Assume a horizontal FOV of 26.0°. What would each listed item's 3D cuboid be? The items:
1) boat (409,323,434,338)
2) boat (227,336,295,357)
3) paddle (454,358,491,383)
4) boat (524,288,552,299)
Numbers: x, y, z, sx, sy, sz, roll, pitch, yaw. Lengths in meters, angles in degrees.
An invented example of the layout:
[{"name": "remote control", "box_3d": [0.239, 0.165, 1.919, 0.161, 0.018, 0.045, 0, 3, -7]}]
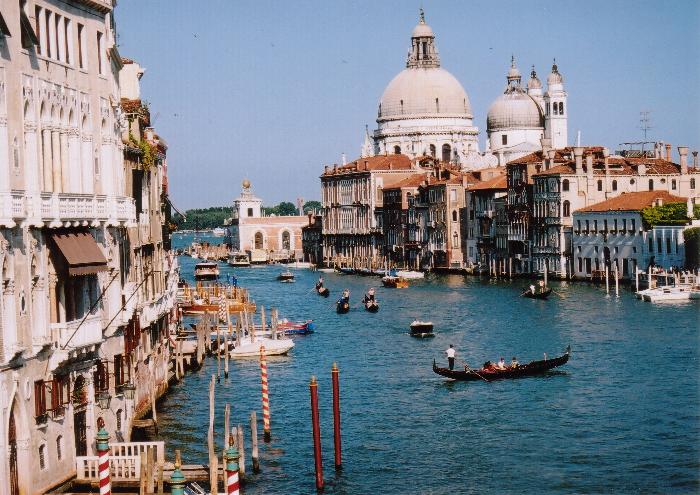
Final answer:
[{"name": "boat", "box_3d": [4.629, 5.288, 98.469, 1.520, 0.818, 2.071, 0, 6, 2]}, {"name": "boat", "box_3d": [-5.402, 5.897, 90.309, 2.929, 0.945, 1.768, 2, -3, -4]}, {"name": "paddle", "box_3d": [6.488, 6.557, 79.386, 2.216, 0.785, 0.994, -2, 7, -15]}, {"name": "boat", "box_3d": [14.801, 3.591, 119.994, 0.736, 0.750, 2.492, 0, -5, -30]}]
